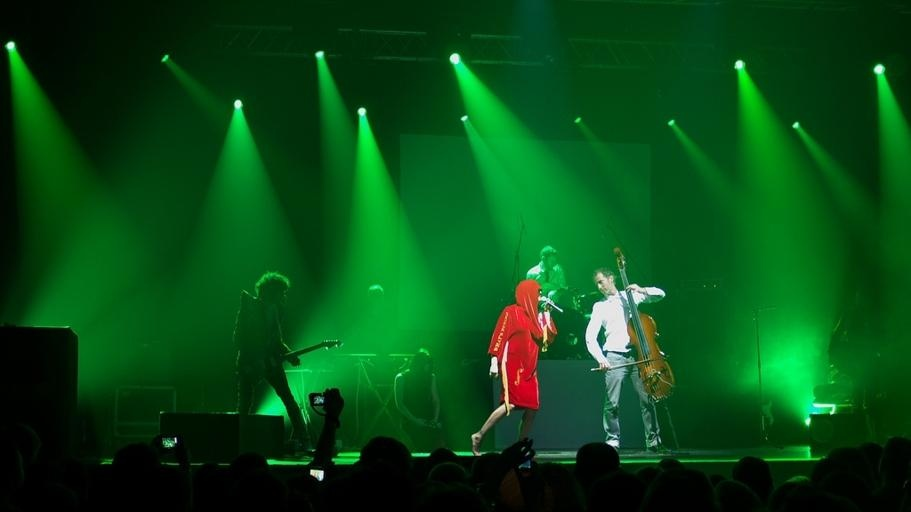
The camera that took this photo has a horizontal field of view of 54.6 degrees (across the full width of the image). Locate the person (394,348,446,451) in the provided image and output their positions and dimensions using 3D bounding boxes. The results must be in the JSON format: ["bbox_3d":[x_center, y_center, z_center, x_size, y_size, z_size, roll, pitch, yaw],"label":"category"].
[{"bbox_3d":[-0.704,2.573,15.479,0.774,1.834,0.702,5,-2,-22],"label":"person"}]

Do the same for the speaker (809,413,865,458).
[{"bbox_3d":[6.396,2.941,14.819,0.935,0.985,0.559,1,1,2],"label":"speaker"}]

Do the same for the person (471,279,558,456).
[{"bbox_3d":[1.042,1.716,14.735,1.197,2.989,1.287,0,0,22],"label":"person"}]

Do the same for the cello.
[{"bbox_3d":[3.106,1.169,14.877,0.651,2.244,0.382,-18,-7,-35],"label":"cello"}]

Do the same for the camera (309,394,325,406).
[{"bbox_3d":[-1.966,2.040,12.499,0.229,0.138,0.200,3,-7,-29],"label":"camera"}]
